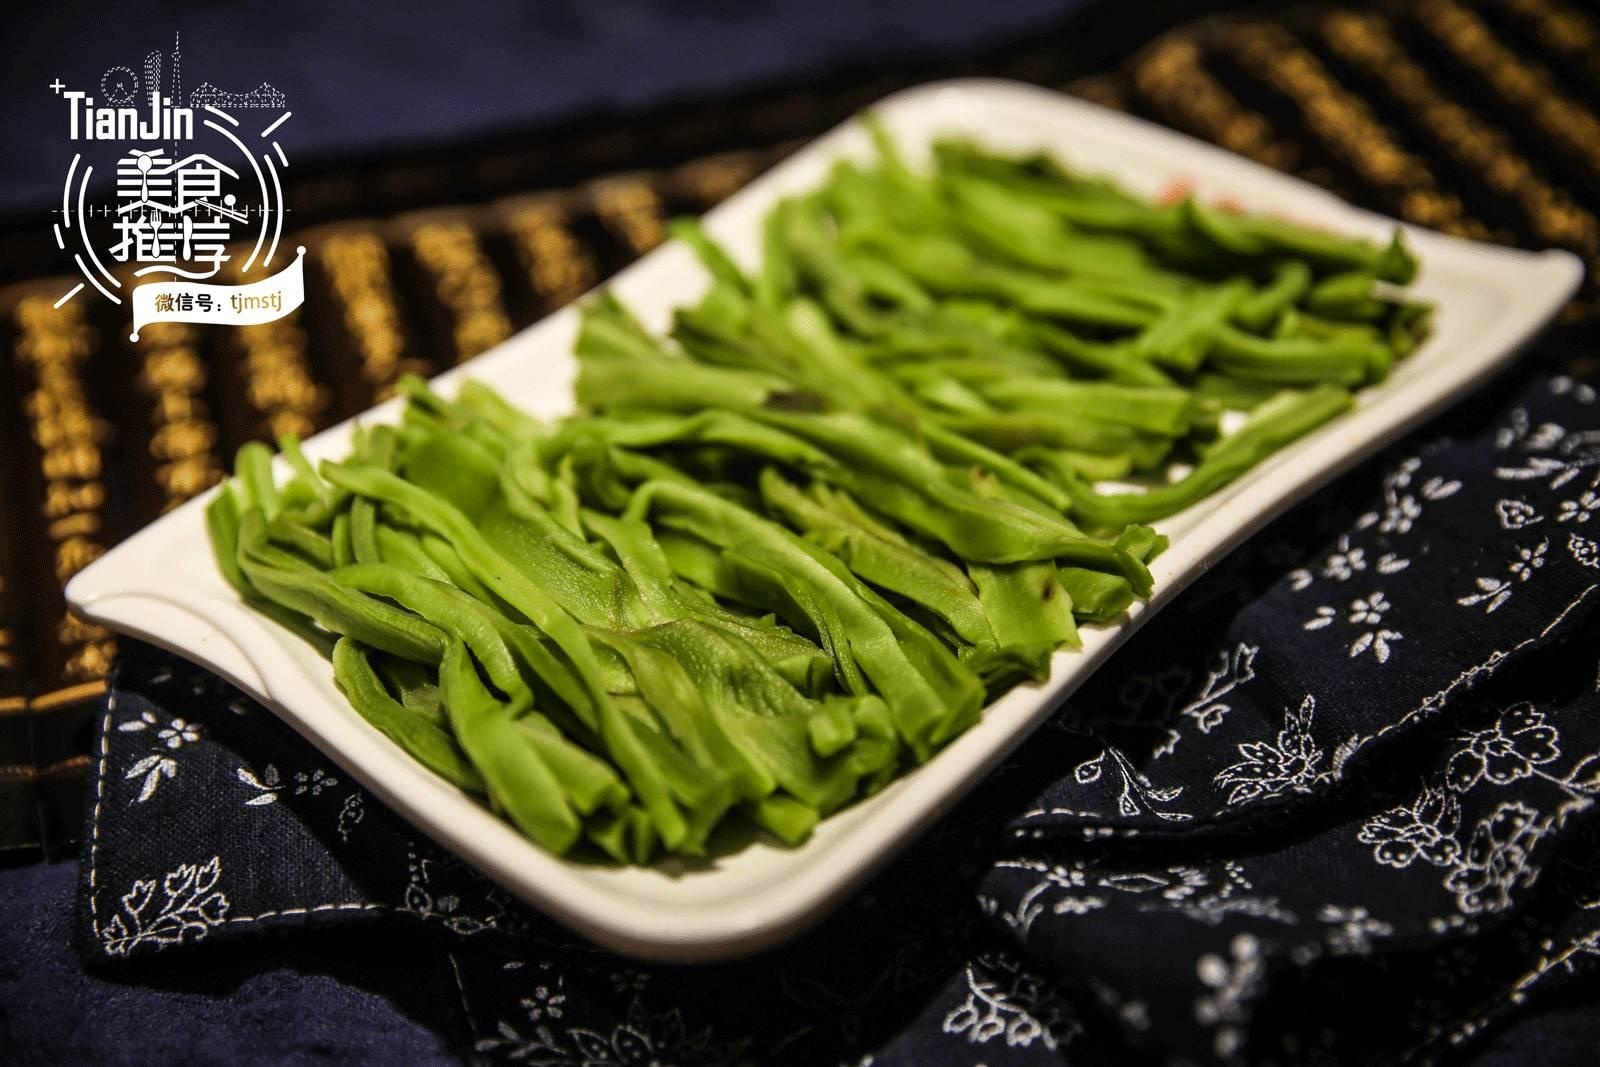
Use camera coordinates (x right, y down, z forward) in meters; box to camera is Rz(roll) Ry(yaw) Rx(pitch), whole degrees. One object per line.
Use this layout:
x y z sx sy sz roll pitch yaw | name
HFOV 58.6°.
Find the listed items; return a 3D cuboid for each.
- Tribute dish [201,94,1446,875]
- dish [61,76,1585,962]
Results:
0.053 -0.139 1.187 0.888 0.112 0.560 -36 41 -24 | Tribute dish
0.117 -0.027 1.107 0.719 0.132 1.107 31 54 31 | dish
